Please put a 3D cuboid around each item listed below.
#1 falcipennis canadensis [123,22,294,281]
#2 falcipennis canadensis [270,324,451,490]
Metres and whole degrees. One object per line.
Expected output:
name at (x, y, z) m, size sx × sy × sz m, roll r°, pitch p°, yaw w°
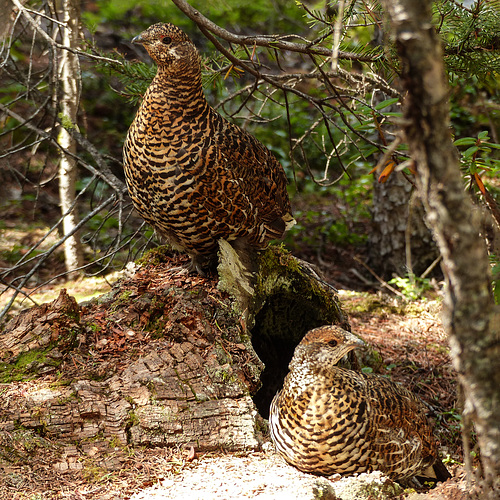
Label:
falcipennis canadensis at (-0.270, -0.645, 4.264) m, size 0.672 × 1.656 × 0.966 m, roll 23°, pitch 34°, yaw 37°
falcipennis canadensis at (0.635, 0.963, 3.847) m, size 0.950 × 0.874 × 0.643 m, roll 1°, pitch 25°, yaw 1°
